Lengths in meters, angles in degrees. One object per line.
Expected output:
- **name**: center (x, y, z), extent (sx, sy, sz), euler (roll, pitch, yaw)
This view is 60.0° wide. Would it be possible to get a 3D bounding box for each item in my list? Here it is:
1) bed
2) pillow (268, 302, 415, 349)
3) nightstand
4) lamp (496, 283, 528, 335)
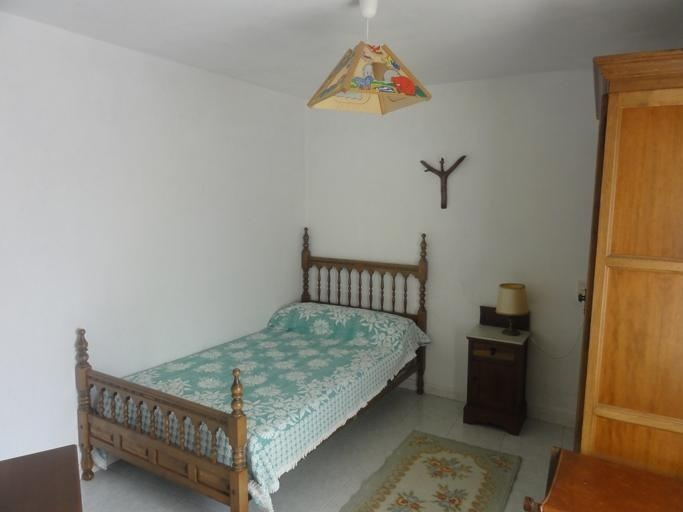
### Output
- **bed**: center (-0.487, 0.855, 4.704), extent (1.657, 1.616, 2.327), euler (6, 11, 30)
- **pillow**: center (0.012, 0.596, 5.260), extent (0.821, 0.158, 0.556), euler (6, 10, 24)
- **nightstand**: center (1.314, 0.943, 4.954), extent (0.503, 0.885, 0.480), euler (6, 15, 24)
- **lamp**: center (1.424, 0.437, 4.902), extent (0.247, 0.406, 0.346), euler (5, 15, 20)
